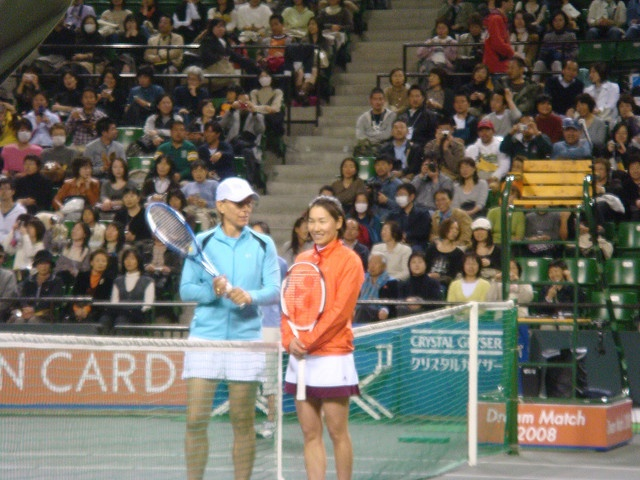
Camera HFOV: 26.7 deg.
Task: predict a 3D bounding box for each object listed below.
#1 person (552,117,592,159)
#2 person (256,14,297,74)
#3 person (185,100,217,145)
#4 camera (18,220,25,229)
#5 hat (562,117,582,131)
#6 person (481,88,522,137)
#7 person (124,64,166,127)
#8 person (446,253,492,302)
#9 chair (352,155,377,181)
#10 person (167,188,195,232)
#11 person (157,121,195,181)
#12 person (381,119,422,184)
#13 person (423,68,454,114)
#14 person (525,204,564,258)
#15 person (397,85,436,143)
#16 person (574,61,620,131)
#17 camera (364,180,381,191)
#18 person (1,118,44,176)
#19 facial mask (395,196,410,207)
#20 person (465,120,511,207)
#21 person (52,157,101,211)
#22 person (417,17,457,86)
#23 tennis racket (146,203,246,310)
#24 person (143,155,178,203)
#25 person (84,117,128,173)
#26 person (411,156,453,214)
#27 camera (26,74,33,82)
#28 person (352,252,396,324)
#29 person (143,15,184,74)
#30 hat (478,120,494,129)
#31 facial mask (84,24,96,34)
[{"bbox_3d":[4.319,-1.690,23.244,0.691,0.761,0.405,1,3,18],"label":"person"},{"bbox_3d":[-0.902,-3.885,26.968,0.686,1.173,0.720,5,9,40],"label":"person"},{"bbox_3d":[-2.203,-2.142,25.172,0.467,0.878,0.364,22,5,27],"label":"person"},{"bbox_3d":[-5.124,-0.241,23.184,0.105,0.115,0.191,13,-1,-7],"label":"camera"},{"bbox_3d":[4.322,-1.952,23.166,0.335,0.178,0.555,8,-4,12],"label":"hat"},{"bbox_3d":[3.310,-2.261,24.438,0.703,1.367,0.437,-9,-18,41],"label":"person"},{"bbox_3d":[-3.426,-2.580,26.393,0.657,1.562,0.797,4,2,0],"label":"person"},{"bbox_3d":[2.302,0.626,20.903,0.608,1.336,0.380,0,-9,14],"label":"person"},{"bbox_3d":[0.842,-1.293,24.512,0.382,0.475,0.388,2,2,45],"label":"chair"},{"bbox_3d":[-2.321,-0.533,22.764,0.252,0.730,0.507,-36,-12,16],"label":"person"},{"bbox_3d":[-2.582,-1.538,24.521,0.655,1.244,0.622,3,-3,-36],"label":"person"},{"bbox_3d":[1.435,-1.548,24.145,0.688,1.170,0.624,4,8,17],"label":"person"},{"bbox_3d":[2.196,-2.715,25.417,0.525,1.051,0.532,0,7,3],"label":"person"},{"bbox_3d":[3.607,-0.125,21.596,0.577,0.880,0.504,-1,-19,15],"label":"person"},{"bbox_3d":[1.736,-2.262,24.672,0.700,1.158,0.611,11,26,21],"label":"person"},{"bbox_3d":[5.266,-2.445,25.469,0.669,1.711,0.799,-3,0,37],"label":"person"},{"bbox_3d":[0.936,-0.912,23.420,0.240,0.159,0.323,-3,4,3],"label":"camera"},{"bbox_3d":[-5.620,-1.700,25.587,0.816,1.430,0.782,3,-13,-12],"label":"person"},{"bbox_3d":[1.406,-0.619,22.718,0.174,0.163,0.177,-1,-1,43],"label":"facial mask"},{"bbox_3d":[2.934,-1.106,24.011,0.707,2.021,0.760,3,11,28],"label":"person"},{"bbox_3d":[-4.367,-0.945,24.331,0.772,1.112,0.554,3,1,-24],"label":"person"},{"bbox_3d":[2.380,-3.643,27.037,0.652,1.569,0.795,3,-7,21],"label":"person"},{"bbox_3d":[-1.559,0.182,16.247,0.527,1.867,0.149,-38,0,-20],"label":"tennis racket"},{"bbox_3d":[-2.852,-1.056,23.959,0.581,0.895,0.319,4,3,26],"label":"person"},{"bbox_3d":[-3.977,-1.598,25.073,0.748,1.348,0.714,-2,23,-27],"label":"person"},{"bbox_3d":[1.897,-0.859,23.226,0.662,1.060,0.546,12,-5,-5],"label":"person"},{"bbox_3d":[-5.841,-3.213,27.126,0.124,0.131,0.031,-1,11,-23],"label":"camera"},{"bbox_3d":[0.789,0.761,19.884,0.652,0.598,1.772,-9,22,13],"label":"person"},{"bbox_3d":[-3.288,-3.875,28.268,0.729,1.622,0.860,3,-2,8],"label":"person"},{"bbox_3d":[2.948,-2.019,23.971,0.271,0.187,0.372,-3,4,5],"label":"hat"},{"bbox_3d":[-4.908,-4.459,28.784,0.146,0.134,0.168,-6,6,-42],"label":"facial mask"}]
